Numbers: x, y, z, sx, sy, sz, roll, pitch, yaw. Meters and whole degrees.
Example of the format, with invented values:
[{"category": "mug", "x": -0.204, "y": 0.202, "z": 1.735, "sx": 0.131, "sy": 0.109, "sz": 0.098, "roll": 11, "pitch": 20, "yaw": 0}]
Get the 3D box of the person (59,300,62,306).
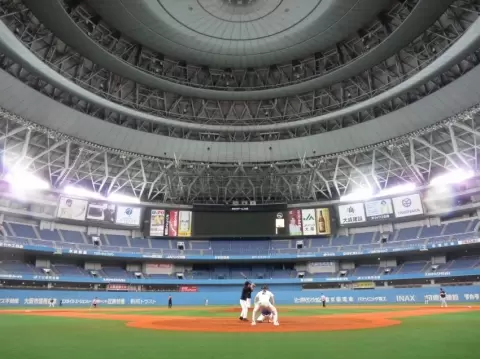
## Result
[{"category": "person", "x": -22.516, "y": 15.444, "z": 39.363, "sx": 0.431, "sy": 0.830, "sz": 0.819, "roll": 13, "pitch": -33, "yaw": -23}]
